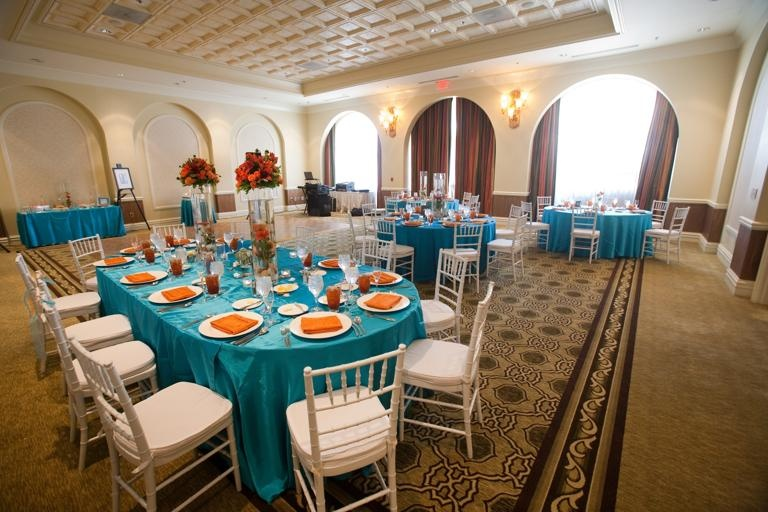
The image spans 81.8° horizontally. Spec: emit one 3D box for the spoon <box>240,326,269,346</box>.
[{"bbox_3d":[-1.175,0.742,4.086,0.088,0.051,0.332,39,38,21],"label":"spoon"}]

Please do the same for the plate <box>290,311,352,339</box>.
[{"bbox_3d":[-0.598,0.655,4.099,0.310,0.077,0.299,3,18,12],"label":"plate"}]

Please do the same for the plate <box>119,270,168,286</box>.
[{"bbox_3d":[-2.632,0.245,4.884,0.229,0.037,0.269,16,18,38],"label":"plate"}]

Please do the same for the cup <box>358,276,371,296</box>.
[{"bbox_3d":[-0.200,0.308,4.542,0.165,0.192,0.167,0,3,0],"label":"cup"}]

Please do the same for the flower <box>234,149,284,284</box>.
[{"bbox_3d":[-1.342,-0.455,4.787,0.553,1.297,0.532,0,3,20],"label":"flower"}]

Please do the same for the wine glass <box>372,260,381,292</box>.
[{"bbox_3d":[-0.090,0.235,5.066,0.162,0.426,0.141,-5,37,-6],"label":"wine glass"}]

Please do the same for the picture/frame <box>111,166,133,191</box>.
[{"bbox_3d":[-6.285,-1.847,10.555,0.091,0.675,0.499,-1,13,26],"label":"picture/frame"}]

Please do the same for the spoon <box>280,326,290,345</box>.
[{"bbox_3d":[-0.893,0.725,4.027,0.057,0.032,0.214,-7,23,-15],"label":"spoon"}]

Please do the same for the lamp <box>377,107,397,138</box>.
[{"bbox_3d":[0.098,-3.872,12.730,0.812,0.901,0.279,7,20,40],"label":"lamp"}]

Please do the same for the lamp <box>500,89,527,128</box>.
[{"bbox_3d":[3.093,-3.511,10.607,0.617,0.872,0.158,9,16,43],"label":"lamp"}]

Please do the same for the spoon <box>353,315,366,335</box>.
[{"bbox_3d":[-0.240,0.658,4.156,0.078,0.026,0.178,-9,32,-9],"label":"spoon"}]
